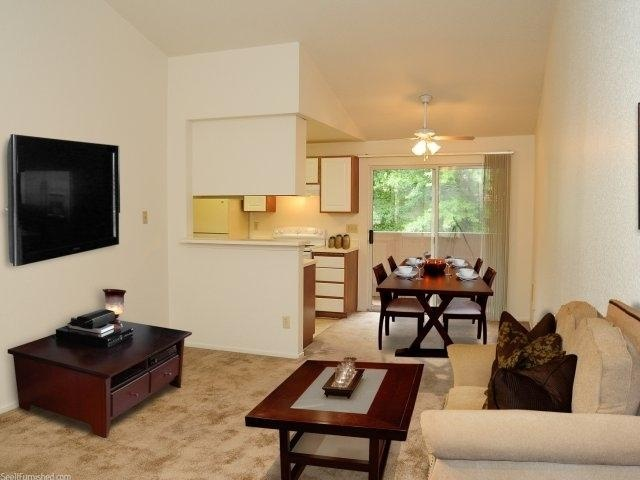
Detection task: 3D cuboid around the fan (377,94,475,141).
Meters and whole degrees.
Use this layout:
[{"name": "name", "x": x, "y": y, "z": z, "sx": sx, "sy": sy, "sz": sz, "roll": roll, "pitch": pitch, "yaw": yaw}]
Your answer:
[{"name": "fan", "x": 1.310, "y": -1.407, "z": 6.015, "sx": 0.736, "sy": 0.358, "sz": 0.724, "roll": -2, "pitch": 11, "yaw": -26}]

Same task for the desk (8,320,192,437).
[{"name": "desk", "x": -1.870, "y": 1.060, "z": 4.051, "sx": 0.850, "sy": 0.430, "sz": 0.852, "roll": 3, "pitch": 5, "yaw": 21}]

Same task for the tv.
[{"name": "tv", "x": -2.256, "y": -0.362, "z": 4.326, "sx": 0.136, "sy": 1.165, "sz": 1.269, "roll": 2, "pitch": 2, "yaw": 21}]

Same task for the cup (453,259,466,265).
[{"name": "cup", "x": 1.747, "y": 0.282, "z": 6.211, "sx": 0.088, "sy": 0.051, "sz": 0.089, "roll": -2, "pitch": -3, "yaw": 0}]

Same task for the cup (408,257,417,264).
[{"name": "cup", "x": 1.197, "y": 0.266, "z": 6.367, "sx": 0.083, "sy": 0.060, "sz": 0.085, "roll": 0, "pitch": -6, "yaw": 0}]

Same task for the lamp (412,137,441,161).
[{"name": "lamp", "x": 1.378, "y": -1.172, "z": 6.303, "sx": 0.415, "sy": 0.127, "sz": 0.418, "roll": 1, "pitch": 25, "yaw": 43}]

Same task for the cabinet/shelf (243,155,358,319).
[{"name": "cabinet/shelf", "x": -0.023, "y": -0.082, "z": 7.440, "sx": 1.262, "sy": 2.346, "sz": 0.936, "roll": 1, "pitch": 9, "yaw": 4}]

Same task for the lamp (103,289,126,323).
[{"name": "lamp", "x": -1.895, "y": 0.640, "z": 4.637, "sx": 0.217, "sy": 0.303, "sz": 0.218, "roll": -4, "pitch": -7, "yaw": 26}]
